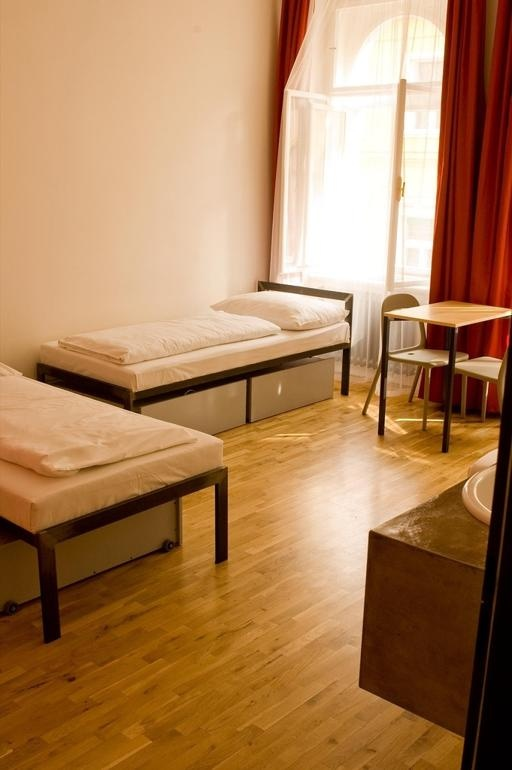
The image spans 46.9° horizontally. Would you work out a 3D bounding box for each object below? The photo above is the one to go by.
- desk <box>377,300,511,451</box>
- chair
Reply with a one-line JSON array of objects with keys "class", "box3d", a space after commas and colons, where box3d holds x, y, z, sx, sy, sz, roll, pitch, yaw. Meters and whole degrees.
[{"class": "desk", "box3d": [1.233, -0.056, 3.838, 0.550, 0.783, 0.803, 14, 23, 41]}, {"class": "chair", "box3d": [1.319, -0.301, 4.468, 0.842, 1.478, 0.887, -11, 15, -38]}]
